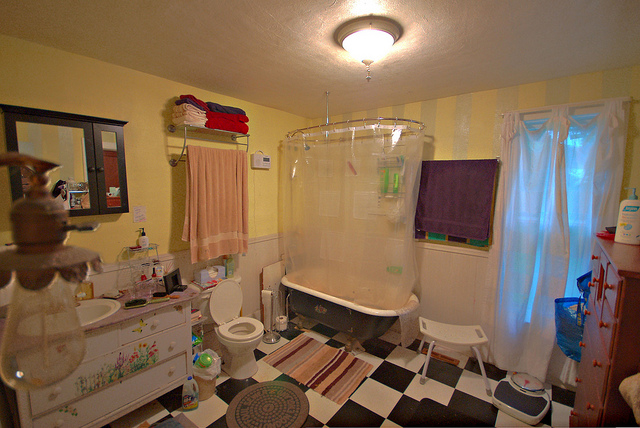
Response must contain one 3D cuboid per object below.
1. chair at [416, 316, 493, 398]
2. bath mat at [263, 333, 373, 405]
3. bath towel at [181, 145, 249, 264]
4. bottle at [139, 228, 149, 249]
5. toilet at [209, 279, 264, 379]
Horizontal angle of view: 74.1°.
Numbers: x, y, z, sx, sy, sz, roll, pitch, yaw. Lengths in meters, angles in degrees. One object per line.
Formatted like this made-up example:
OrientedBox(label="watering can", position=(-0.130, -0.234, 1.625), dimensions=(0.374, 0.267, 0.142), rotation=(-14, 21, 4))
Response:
OrientedBox(label="chair", position=(1.317, 1.379, 4.286), dimensions=(0.683, 0.503, 0.676), rotation=(4, 12, 12))
OrientedBox(label="bath mat", position=(-0.015, 1.579, 4.408), dimensions=(0.980, 0.268, 0.666), rotation=(4, 9, 37))
OrientedBox(label="bath towel", position=(-1.144, -0.119, 4.506), dimensions=(0.098, 1.095, 0.818), rotation=(12, 7, 37))
OrientedBox(label="bottle", position=(-1.690, 0.234, 4.062), dimensions=(0.078, 0.185, 0.072), rotation=(-2, 8, 0))
OrientedBox(label="toilet", position=(-0.806, 1.202, 4.324), dimensions=(0.524, 0.867, 0.460), rotation=(10, 14, 37))
